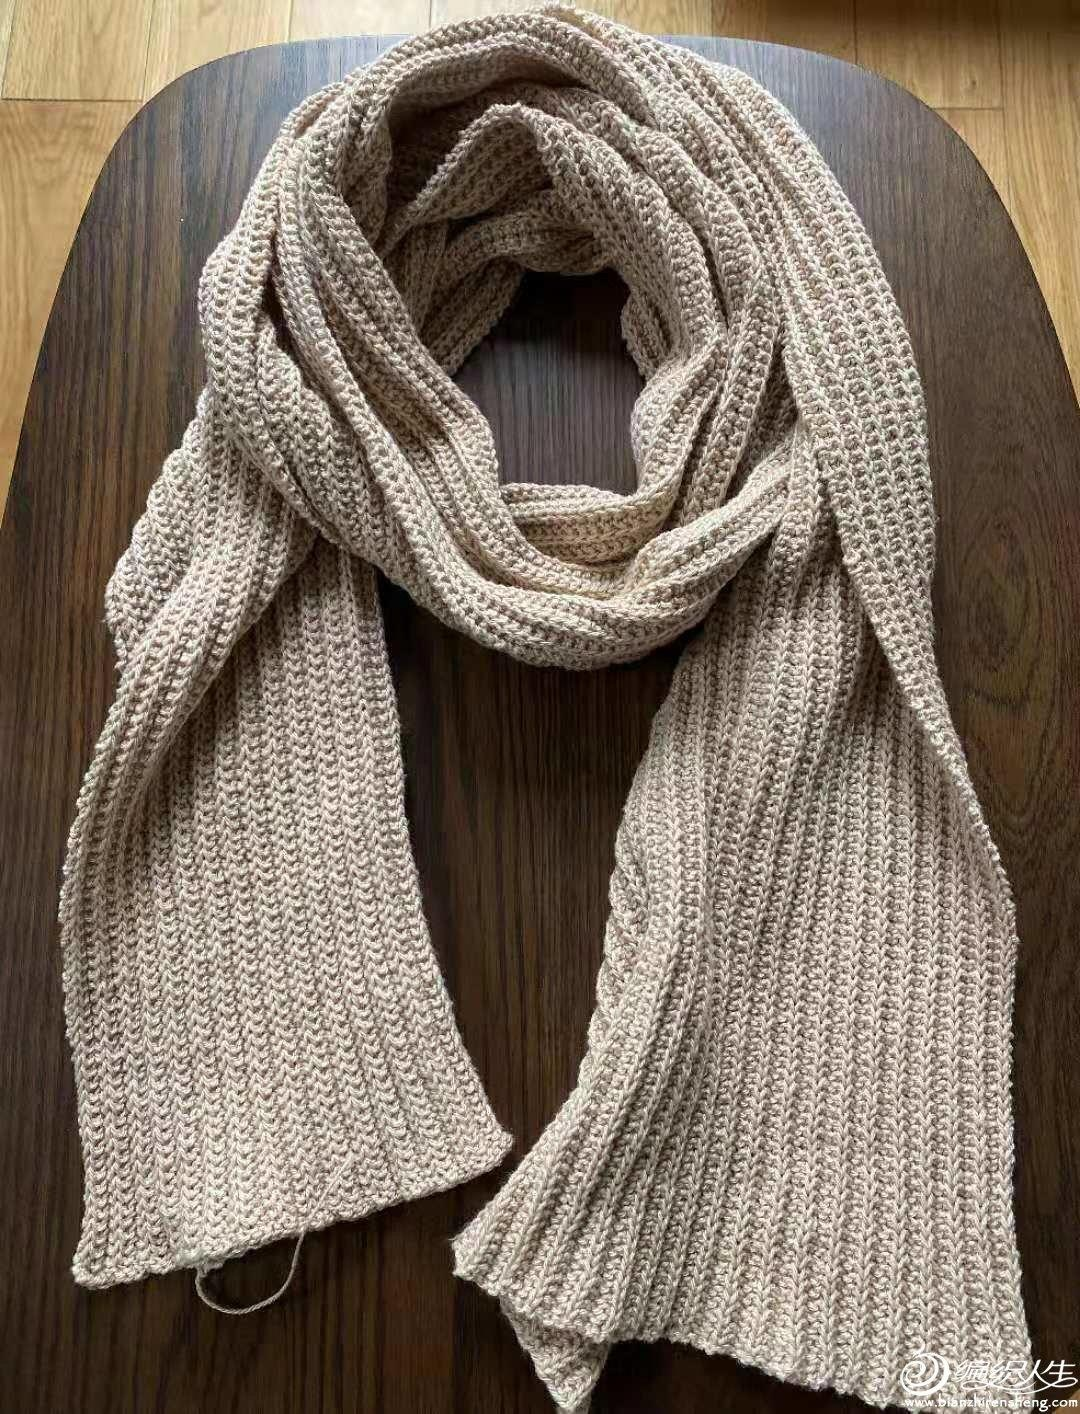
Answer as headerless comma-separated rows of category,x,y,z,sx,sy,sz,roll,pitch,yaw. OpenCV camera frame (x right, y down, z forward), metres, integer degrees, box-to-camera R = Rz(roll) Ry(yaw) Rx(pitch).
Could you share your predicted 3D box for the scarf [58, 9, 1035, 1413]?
scarf,0.017,-0.018,1.336,0.746,0.749,0.646,7,33,11
